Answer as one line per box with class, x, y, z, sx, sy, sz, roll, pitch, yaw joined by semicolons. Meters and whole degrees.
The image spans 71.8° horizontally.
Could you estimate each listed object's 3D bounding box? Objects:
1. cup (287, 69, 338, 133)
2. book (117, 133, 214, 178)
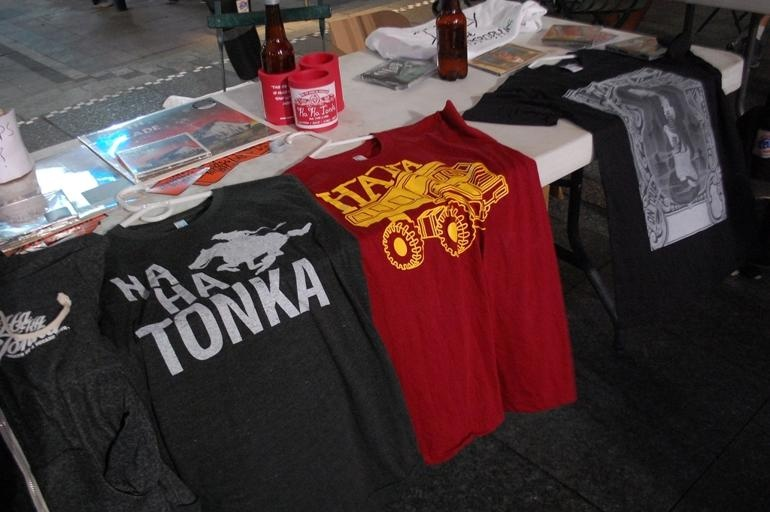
cup;-0.195;-0.473;1.672;0.163;0.158;0.143;0;19;17
book;-0.635;-0.292;1.547;0.224;0.024;0.178;-25;42;-23
